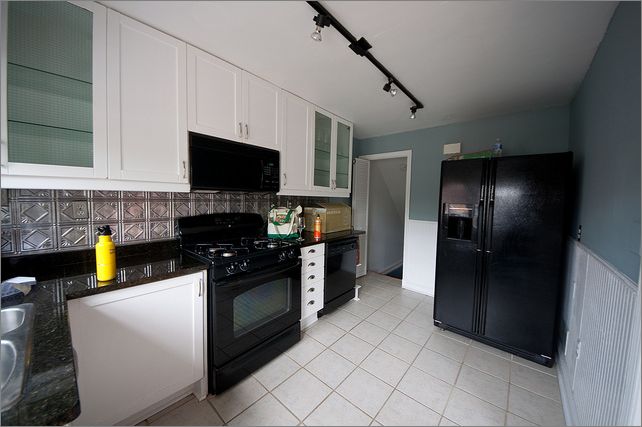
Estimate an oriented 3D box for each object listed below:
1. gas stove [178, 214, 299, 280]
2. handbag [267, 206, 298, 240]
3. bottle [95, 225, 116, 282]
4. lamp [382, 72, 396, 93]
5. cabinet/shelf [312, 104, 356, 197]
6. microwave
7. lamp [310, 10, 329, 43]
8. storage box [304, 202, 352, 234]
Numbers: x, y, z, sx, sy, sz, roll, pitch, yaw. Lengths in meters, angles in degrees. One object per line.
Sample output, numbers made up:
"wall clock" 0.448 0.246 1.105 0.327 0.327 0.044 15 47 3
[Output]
"gas stove" -0.777 0.322 3.807 0.784 0.577 1.058 9 11 32
"handbag" -0.429 0.089 4.279 0.349 0.343 0.402 2 7 16
"bottle" -1.662 0.316 3.034 0.139 0.413 0.151 -2 6 0
"lamp" 0.653 -1.260 3.888 0.116 0.177 0.161 16 -4 21
"cabinet/shelf" 0.006 -0.681 4.925 0.352 0.984 1.067 3 2 28
"microwave" -0.741 -0.449 3.886 0.990 0.481 0.310 9 11 15
"lamp" 0.004 -1.505 3.231 0.146 0.208 0.309 -2 5 2
"storage box" 0.087 0.055 4.867 0.340 0.340 0.582 8 8 38
